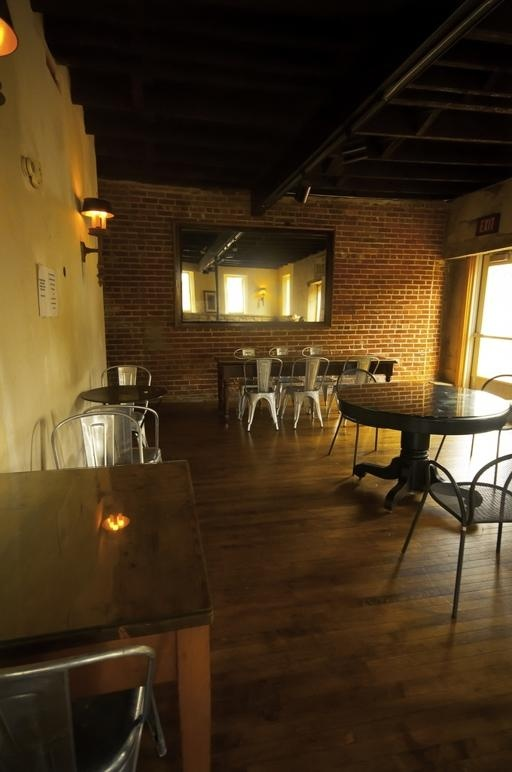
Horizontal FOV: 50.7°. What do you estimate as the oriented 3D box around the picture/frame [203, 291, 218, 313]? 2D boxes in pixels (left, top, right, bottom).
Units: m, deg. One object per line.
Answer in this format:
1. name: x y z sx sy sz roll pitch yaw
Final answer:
1. picture/frame: -0.515 -0.943 5.992 0.228 0.315 0.020 -3 8 -28
